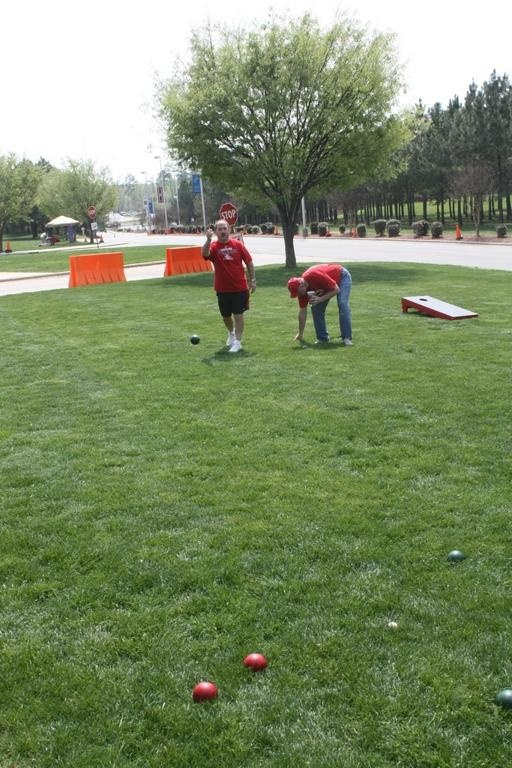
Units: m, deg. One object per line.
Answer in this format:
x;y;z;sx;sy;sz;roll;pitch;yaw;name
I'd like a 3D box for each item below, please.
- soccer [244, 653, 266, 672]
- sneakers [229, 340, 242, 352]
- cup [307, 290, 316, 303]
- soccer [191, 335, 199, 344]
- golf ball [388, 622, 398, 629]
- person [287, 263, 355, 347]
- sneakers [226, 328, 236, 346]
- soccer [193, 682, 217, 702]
-0.008;1.254;3.087;0.102;0.068;0.061;-6;8;-3;soccer
-0.333;-0.566;10.543;0.093;0.122;0.282;2;8;12;sneakers
0.799;-1.269;9.983;0.120;0.162;0.239;-6;8;-3;cup
-1.012;-0.715;11.082;0.126;0.146;0.126;-3;7;7;soccer
0.683;1.205;3.434;0.049;0.023;0.056;-4;9;10;golf ball
0.952;-1.180;10.493;1.121;1.229;0.788;-10;6;-36;person
-0.415;-0.732;10.803;0.100;0.306;0.130;2;-1;0;sneakers
-0.216;1.285;2.858;0.074;0.090;0.076;-6;43;0;soccer
